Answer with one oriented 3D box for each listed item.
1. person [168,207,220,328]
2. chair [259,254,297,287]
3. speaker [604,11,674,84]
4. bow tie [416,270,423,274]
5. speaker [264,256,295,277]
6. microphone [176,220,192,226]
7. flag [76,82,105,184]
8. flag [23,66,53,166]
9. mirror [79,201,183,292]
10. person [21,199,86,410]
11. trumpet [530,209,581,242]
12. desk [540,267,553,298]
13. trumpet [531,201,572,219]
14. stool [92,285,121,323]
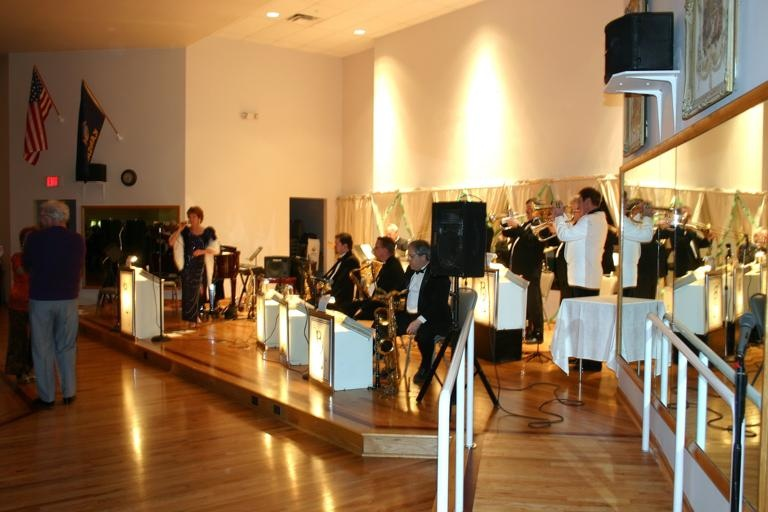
[{"bbox_3d":[-3.204,0.178,11.788,0.760,1.963,0.498,1,4,-16],"label":"person"},{"bbox_3d":[-1.923,0.234,12.874,0.505,0.527,0.571,1,5,-6],"label":"chair"},{"bbox_3d":[2.439,-1.978,6.999,0.474,0.715,0.940,0,5,-10],"label":"speaker"},{"bbox_3d":[0.450,0.184,8.972,0.026,0.051,0.117,-15,18,-41],"label":"bow tie"},{"bbox_3d":[-1.922,0.193,12.780,0.362,0.368,0.386,-5,-3,15],"label":"speaker"},{"bbox_3d":[-3.521,-0.593,12.411,0.160,0.077,0.218,-14,1,-41],"label":"microphone"},{"bbox_3d":[-6.122,-2.561,14.602,0.708,2.068,0.568,3,14,24],"label":"flag"},{"bbox_3d":[-7.113,-2.887,14.497,0.690,1.993,1.047,-12,16,-34],"label":"flag"},{"bbox_3d":[-4.946,-0.283,13.865,1.635,1.535,0.073,-1,-3,-4],"label":"mirror"},{"bbox_3d":[-4.057,0.503,8.655,0.664,2.461,0.648,-6,21,-42],"label":"person"},{"bbox_3d":[2.352,-0.439,9.807,0.661,0.342,0.230,-24,0,-9],"label":"trumpet"},{"bbox_3d":[2.536,0.435,11.058,0.180,0.390,0.666,1,15,17],"label":"desk"},{"bbox_3d":[2.441,-0.680,10.370,0.363,0.176,0.372,-6,8,-43],"label":"trumpet"},{"bbox_3d":[-4.097,0.589,13.490,0.351,0.511,0.318,-1,11,-24],"label":"stool"}]
